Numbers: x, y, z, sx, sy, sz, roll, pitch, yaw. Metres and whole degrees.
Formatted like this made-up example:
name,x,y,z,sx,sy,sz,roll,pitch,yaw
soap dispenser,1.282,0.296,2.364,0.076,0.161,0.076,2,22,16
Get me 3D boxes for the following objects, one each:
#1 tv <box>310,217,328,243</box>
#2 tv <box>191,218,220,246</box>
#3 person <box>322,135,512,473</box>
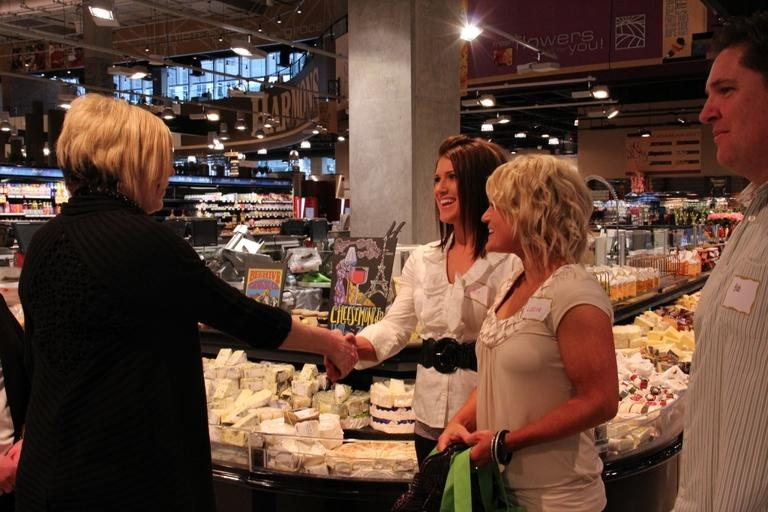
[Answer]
name,x,y,z,sx,sy,sz,roll,pitch,yaw
tv,-1.256,-0.446,11.339,0.427,0.504,0.371,-3,-4,36
tv,-2.427,-0.312,8.179,0.083,0.332,0.361,0,2,36
person,0.298,0.489,2.738,0.919,1.823,0.478,-4,5,22
